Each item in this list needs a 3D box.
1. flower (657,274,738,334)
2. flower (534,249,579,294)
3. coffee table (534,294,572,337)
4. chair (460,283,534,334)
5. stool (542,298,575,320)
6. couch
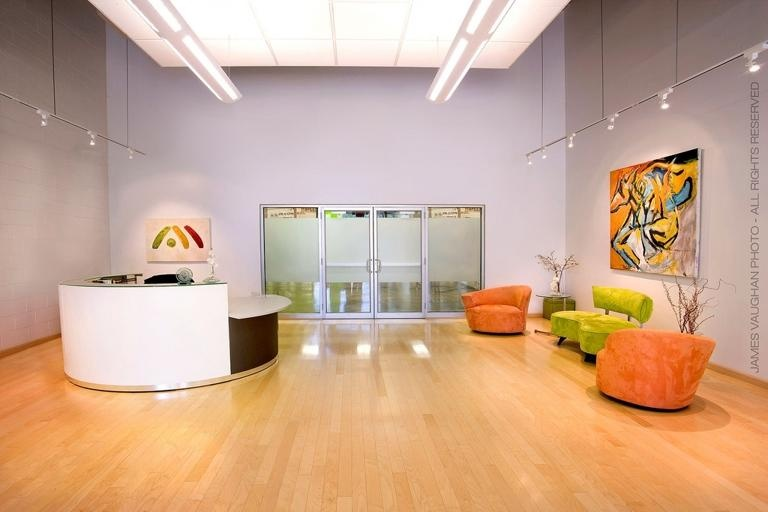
[{"bbox_3d":[4.686,0.737,7.092,0.461,0.888,0.973,-2,6,-10],"label":"flower"},{"bbox_3d":[3.843,0.299,9.871,0.932,0.968,0.859,0,1,-1],"label":"flower"},{"bbox_3d":[3.749,1.237,9.892,0.687,0.941,0.990,1,0,-4],"label":"coffee table"},{"bbox_3d":[2.239,1.007,9.131,1.265,0.945,1.082,0,-2,22],"label":"chair"},{"bbox_3d":[3.752,1.033,9.820,0.552,0.417,0.556,1,0,-16],"label":"stool"},{"bbox_3d":[3.625,1.070,7.643,1.196,1.001,1.733,-2,2,-2],"label":"couch"}]
